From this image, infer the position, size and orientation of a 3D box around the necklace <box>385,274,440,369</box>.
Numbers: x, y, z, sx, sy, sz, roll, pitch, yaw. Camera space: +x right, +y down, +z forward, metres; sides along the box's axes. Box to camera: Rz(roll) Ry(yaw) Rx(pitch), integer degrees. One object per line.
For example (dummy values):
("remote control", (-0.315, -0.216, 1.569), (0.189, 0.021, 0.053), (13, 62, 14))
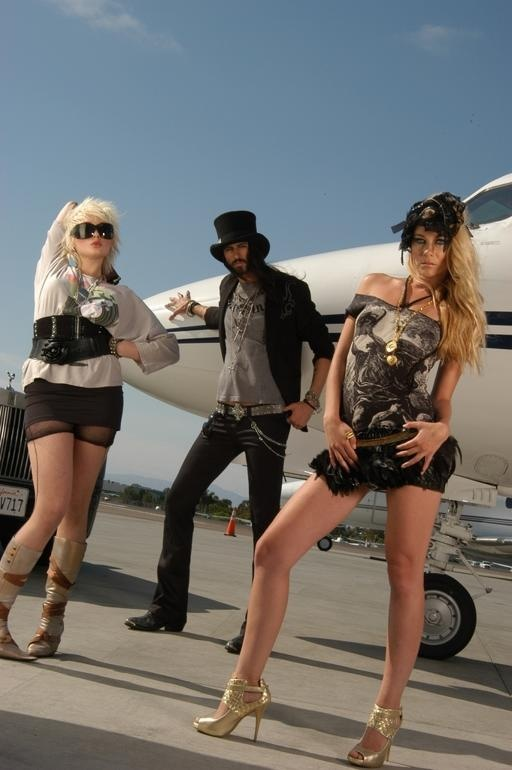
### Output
("necklace", (0.421, -0.176, 1.732), (0.096, 0.253, 0.032), (16, -14, 11))

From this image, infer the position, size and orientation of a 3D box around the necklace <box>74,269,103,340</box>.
("necklace", (-0.629, -0.299, 2.376), (0.144, 0.200, 0.058), (2, -2, 13))

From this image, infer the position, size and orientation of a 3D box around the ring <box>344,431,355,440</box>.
("ring", (0.268, 0.141, 1.745), (0.025, 0.018, 0.023), (2, -8, 0))

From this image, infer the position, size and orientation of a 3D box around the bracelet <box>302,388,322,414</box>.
("bracelet", (0.259, 0.076, 2.908), (0.082, 0.095, 0.058), (19, 37, 21))

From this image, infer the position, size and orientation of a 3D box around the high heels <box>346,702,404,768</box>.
("high heels", (0.299, 0.911, 1.593), (0.076, 0.161, 0.143), (9, 8, 43))

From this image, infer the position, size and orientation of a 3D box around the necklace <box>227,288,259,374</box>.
("necklace", (-0.077, -0.254, 2.938), (0.124, 0.396, 0.066), (11, -5, 32))

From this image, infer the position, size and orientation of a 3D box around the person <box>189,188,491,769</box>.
("person", (0.299, 0.191, 1.728), (0.497, 1.522, 0.657), (6, 6, 25))

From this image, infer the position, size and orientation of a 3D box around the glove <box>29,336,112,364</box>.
("glove", (-0.681, -0.127, 2.247), (0.183, 0.061, 0.167), (1, -3, 2))
